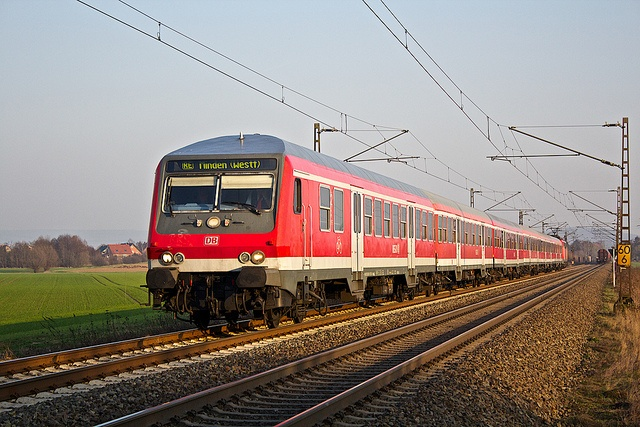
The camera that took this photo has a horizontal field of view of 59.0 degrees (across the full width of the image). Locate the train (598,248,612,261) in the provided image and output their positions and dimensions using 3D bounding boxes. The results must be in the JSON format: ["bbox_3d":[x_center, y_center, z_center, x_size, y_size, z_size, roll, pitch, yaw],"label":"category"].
[{"bbox_3d":[64.655,9.416,129.273,2.153,3.107,4.323,-4,-9,22],"label":"train"}]

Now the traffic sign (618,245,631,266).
[{"bbox_3d":[13.457,1.789,25.076,0.499,0.981,0.895,-4,-9,26],"label":"traffic sign"}]
